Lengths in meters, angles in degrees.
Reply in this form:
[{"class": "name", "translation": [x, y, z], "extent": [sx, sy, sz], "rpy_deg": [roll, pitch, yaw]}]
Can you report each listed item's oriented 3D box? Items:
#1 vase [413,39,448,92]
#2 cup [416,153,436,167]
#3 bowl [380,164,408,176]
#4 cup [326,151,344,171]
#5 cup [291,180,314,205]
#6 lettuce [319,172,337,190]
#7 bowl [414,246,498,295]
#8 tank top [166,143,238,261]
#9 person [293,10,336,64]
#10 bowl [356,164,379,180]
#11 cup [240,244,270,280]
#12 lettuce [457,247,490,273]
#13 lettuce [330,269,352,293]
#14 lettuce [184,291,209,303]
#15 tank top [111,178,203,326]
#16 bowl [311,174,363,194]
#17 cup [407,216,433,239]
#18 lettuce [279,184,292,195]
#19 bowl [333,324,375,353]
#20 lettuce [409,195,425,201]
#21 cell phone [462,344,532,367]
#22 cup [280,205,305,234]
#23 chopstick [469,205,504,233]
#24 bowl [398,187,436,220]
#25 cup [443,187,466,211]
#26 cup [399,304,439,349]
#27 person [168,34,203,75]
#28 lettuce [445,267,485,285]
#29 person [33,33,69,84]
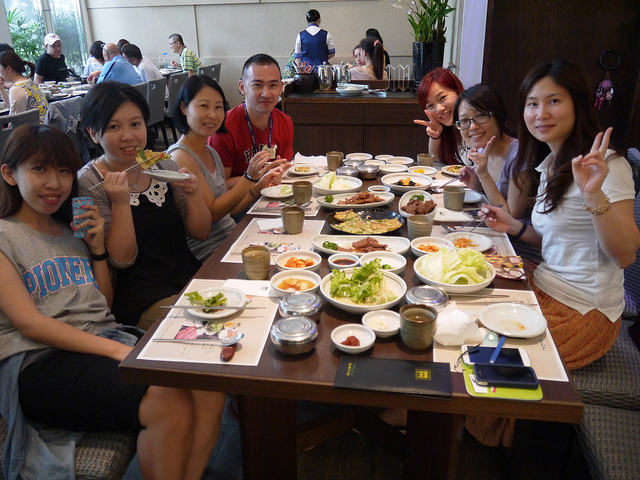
[{"class": "vase", "translation": [1.175, -1.904, 4.635], "extent": [0.341, 0.503, 0.337], "rpy_deg": [-6, 25, -1]}, {"class": "cup", "translation": [0.742, -0.556, 2.962], "extent": [0.121, 0.103, 0.128], "rpy_deg": [-2, 15, 1]}, {"class": "bowl", "translation": [0.485, -0.468, 2.784], "extent": [0.104, 0.026, 0.107], "rpy_deg": [-1, 23, 1]}, {"class": "cup", "translation": [0.099, -0.530, 2.839], "extent": [0.108, 0.126, 0.114], "rpy_deg": [-1, 17, 0]}, {"class": "cup", "translation": [-0.093, -0.250, 2.262], "extent": [0.106, 0.099, 0.122], "rpy_deg": [0, 20, -1]}, {"class": "lettuce", "translation": [0.040, -0.335, 2.409], "extent": [0.099, 0.036, 0.105], "rpy_deg": [-7, 34, 20]}, {"class": "bowl", "translation": [0.483, 0.112, 1.486], "extent": [0.192, 0.090, 0.199], "rpy_deg": [-1, 23, 1]}, {"class": "tank top", "translation": [-0.646, -0.150, 2.607], "extent": [0.433, 0.783, 0.405], "rpy_deg": [21, 25, 25]}, {"class": "person", "translation": [-0.124, -3.277, 6.865], "extent": [0.686, 0.791, 0.382], "rpy_deg": [-4, 24, -1]}, {"class": "bowl", "translation": [0.311, -0.428, 2.714], "extent": [0.113, 0.057, 0.105], "rpy_deg": [0, 21, 0]}, {"class": "cup", "translation": [-0.225, 0.078, 1.596], "extent": [0.110, 0.128, 0.115], "rpy_deg": [-2, 24, 1]}, {"class": "lettuce", "translation": [0.551, 0.089, 1.517], "extent": [0.085, 0.034, 0.082], "rpy_deg": [33, 29, 25]}, {"class": "lettuce", "translation": [0.066, 0.135, 1.450], "extent": [0.061, 0.028, 0.067], "rpy_deg": [30, 51, 21]}, {"class": "lettuce", "translation": [-0.424, 0.197, 1.437], "extent": [0.058, 0.016, 0.040], "rpy_deg": [6, 26, 9]}, {"class": "tank top", "translation": [-0.822, 0.049, 2.161], "extent": [0.376, 0.734, 0.401], "rpy_deg": [-7, 23, -36]}, {"class": "bowl", "translation": [0.120, -0.318, 2.433], "extent": [0.178, 0.050, 0.182], "rpy_deg": [0, 21, 0]}, {"class": "cup", "translation": [0.424, -0.054, 1.803], "extent": [0.090, 0.078, 0.103], "rpy_deg": [0, 14, 4]}, {"class": "lettuce", "translation": [-0.198, -0.282, 2.416], "extent": [0.052, 0.027, 0.096], "rpy_deg": [5, 16, 3]}, {"class": "bowl", "translation": [0.096, 0.296, 1.249], "extent": [0.113, 0.038, 0.116], "rpy_deg": [-3, 25, 1]}, {"class": "lettuce", "translation": [0.513, -0.216, 2.206], "extent": [0.041, 0.014, 0.042], "rpy_deg": [5, 31, 14]}, {"class": "cell phone", "translation": [0.499, 0.330, 1.191], "extent": [0.180, 0.023, 0.093], "rpy_deg": [2, 26, 13]}, {"class": "cup", "translation": [-0.123, -0.089, 1.901], "extent": [0.096, 0.098, 0.112], "rpy_deg": [0, 20, -1]}, {"class": "chopstick", "translation": [0.775, -0.091, 1.960], "extent": [0.011, 0.200, 0.022], "rpy_deg": [18, 36, -34]}, {"class": "bowl", "translation": [0.478, -0.178, 2.059], "extent": [0.145, 0.036, 0.308], "rpy_deg": [-1, 24, 7]}, {"class": "cup", "translation": [0.676, -0.206, 2.137], "extent": [0.104, 0.093, 0.112], "rpy_deg": [-1, 14, 0]}, {"class": "cup", "translation": [0.291, 0.263, 1.257], "extent": [0.123, 0.097, 0.113], "rpy_deg": [-1, 15, 0]}, {"class": "person", "translation": [-2.686, -3.653, 8.328], "extent": [0.513, 0.728, 1.607], "rpy_deg": [-11, 26, -16]}, {"class": "lettuce", "translation": [0.507, 0.141, 1.462], "extent": [0.075, 0.036, 0.077], "rpy_deg": [-21, 32, 3]}, {"class": "person", "translation": [-4.944, -3.243, 7.606], "extent": [0.571, 0.779, 0.693], "rpy_deg": [-18, 28, -28]}]
